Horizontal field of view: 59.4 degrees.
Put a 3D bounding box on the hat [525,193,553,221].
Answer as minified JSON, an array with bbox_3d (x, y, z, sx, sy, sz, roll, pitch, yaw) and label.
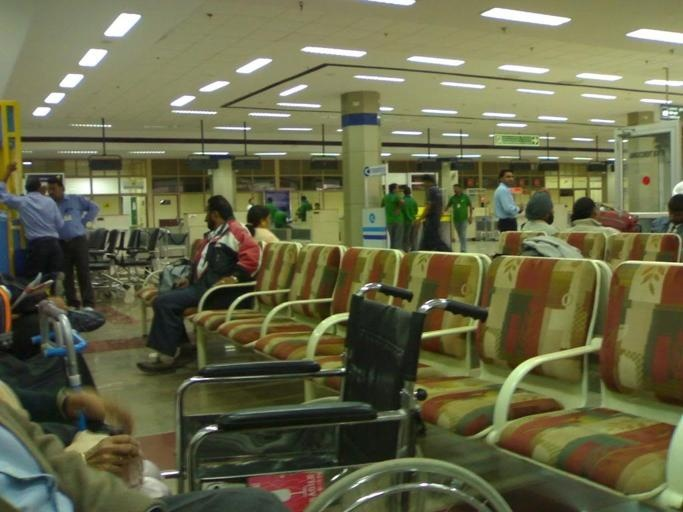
[{"bbox_3d":[1.533,-0.376,4.504,0.240,0.205,0.178,-21,23,-39],"label":"hat"}]

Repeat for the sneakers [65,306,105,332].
[{"bbox_3d":[-1.217,0.320,2.923,0.142,0.073,0.189,8,-2,17],"label":"sneakers"}]

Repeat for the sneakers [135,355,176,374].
[{"bbox_3d":[-1.496,0.895,4.934,0.134,0.128,0.357,-3,-7,44],"label":"sneakers"}]
